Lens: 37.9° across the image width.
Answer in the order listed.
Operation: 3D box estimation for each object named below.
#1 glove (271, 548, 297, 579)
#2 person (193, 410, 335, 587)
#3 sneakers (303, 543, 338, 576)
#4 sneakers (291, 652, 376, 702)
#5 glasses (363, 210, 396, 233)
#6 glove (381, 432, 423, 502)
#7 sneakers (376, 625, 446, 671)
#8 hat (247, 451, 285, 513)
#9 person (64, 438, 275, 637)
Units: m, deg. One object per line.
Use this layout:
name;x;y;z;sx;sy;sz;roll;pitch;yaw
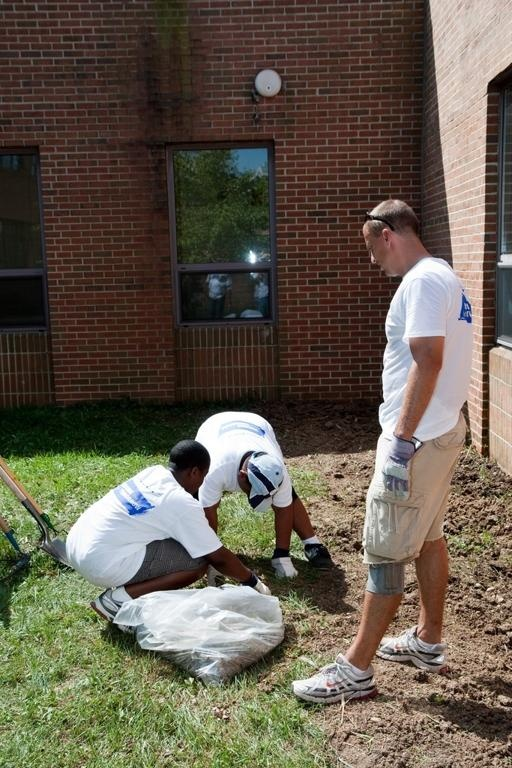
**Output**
glove;0.149;0.986;4.056;0.098;0.116;0.178;-1;-12;-11
person;0.026;0.473;4.036;0.780;0.642;0.900;-8;47;-20
sneakers;0.363;0.992;4.202;0.101;0.083;0.204;-5;-2;-25
sneakers;0.295;1.110;2.816;0.365;0.172;0.131;0;-6;-5
glasses;0.467;-0.606;2.776;0.102;0.028;0.096;17;6;-18
glove;0.499;0.292;2.558;0.128;0.226;0.051;2;11;10
sneakers;0.652;1.080;3.082;0.262;0.122;0.122;5;2;38
hat;0.033;0.465;3.531;0.188;0.261;0.141;8;-16;-32
person;-0.509;0.681;3.631;1.006;0.838;0.700;0;6;-26
